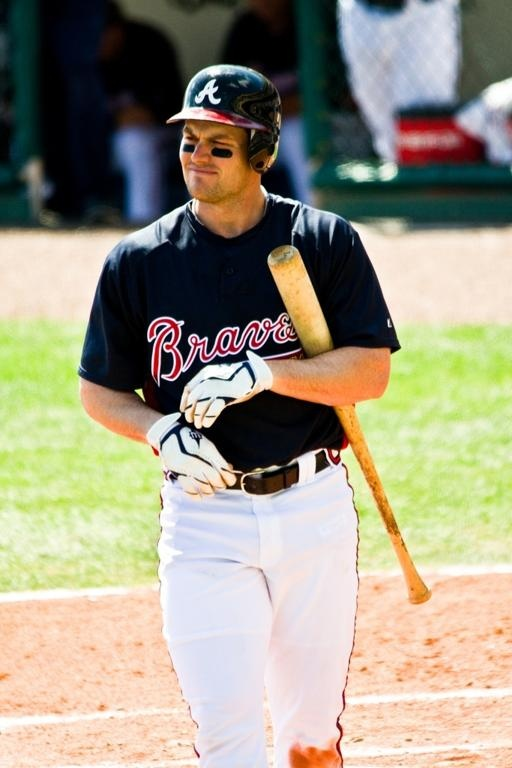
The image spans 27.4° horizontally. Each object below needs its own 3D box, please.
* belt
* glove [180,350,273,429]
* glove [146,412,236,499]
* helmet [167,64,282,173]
[{"bbox_3d":[0.062,0.199,2.303,0.146,0.038,0.102,-16,1,4],"label":"belt"},{"bbox_3d":[-0.059,0.006,2.191,0.197,0.091,0.118,-39,57,-14],"label":"glove"},{"bbox_3d":[-0.153,0.149,2.237,0.196,0.062,0.133,40,45,22],"label":"glove"},{"bbox_3d":[-0.063,-0.603,2.357,0.241,0.187,0.287,21,20,38],"label":"helmet"}]
